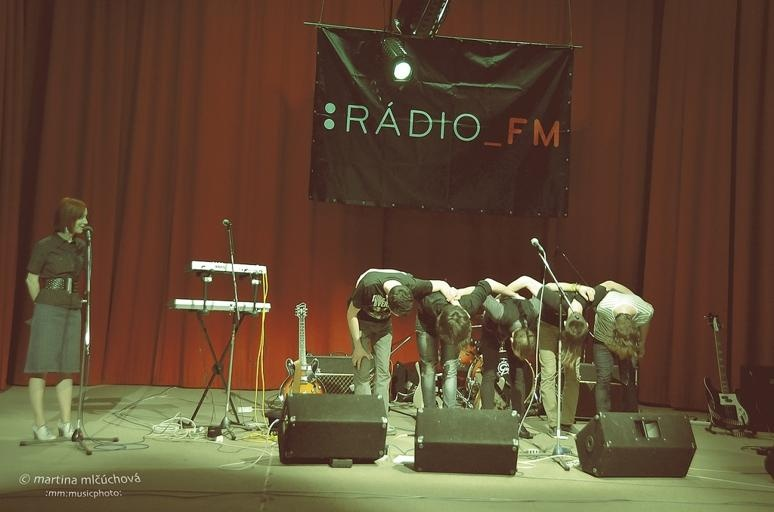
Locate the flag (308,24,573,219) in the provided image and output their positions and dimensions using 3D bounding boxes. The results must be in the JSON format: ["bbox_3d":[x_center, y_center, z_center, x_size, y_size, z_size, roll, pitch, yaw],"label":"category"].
[{"bbox_3d":[0.701,-1.675,12.954,3.283,2.179,0.704,1,-8,-7],"label":"flag"}]

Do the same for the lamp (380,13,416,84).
[{"bbox_3d":[0.158,-2.947,13.008,0.346,1.359,0.647,-1,-21,-4],"label":"lamp"}]

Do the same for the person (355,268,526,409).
[{"bbox_3d":[0.549,0.898,11.161,1.534,1.534,0.821,1,-8,-7],"label":"person"}]

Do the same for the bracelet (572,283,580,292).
[{"bbox_3d":[2.161,0.365,11.529,0.050,0.087,0.130,-6,-11,39],"label":"bracelet"}]

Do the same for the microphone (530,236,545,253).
[{"bbox_3d":[1.941,-0.144,13.106,0.090,0.098,0.306,1,31,-30],"label":"microphone"}]

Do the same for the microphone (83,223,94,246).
[{"bbox_3d":[-3.220,-0.217,10.883,0.087,0.294,0.461,2,-9,-13],"label":"microphone"}]

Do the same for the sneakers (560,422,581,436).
[{"bbox_3d":[2.125,2.019,11.845,0.211,0.120,0.370,1,-5,10],"label":"sneakers"}]

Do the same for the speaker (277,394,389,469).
[{"bbox_3d":[-0.555,1.590,10.673,0.929,0.761,0.745,2,9,-6],"label":"speaker"}]

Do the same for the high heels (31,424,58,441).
[{"bbox_3d":[-3.690,1.902,10.924,0.299,0.155,0.121,4,-3,4],"label":"high heels"}]

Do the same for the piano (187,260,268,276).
[{"bbox_3d":[-1.803,0.135,11.483,0.842,0.176,0.409,3,-10,-14],"label":"piano"}]

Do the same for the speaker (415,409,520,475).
[{"bbox_3d":[0.825,1.917,10.170,1.045,0.694,0.695,-1,-8,1],"label":"speaker"}]

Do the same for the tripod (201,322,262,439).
[{"bbox_3d":[-1.952,1.403,12.289,0.796,1.576,2.489,2,-9,-11],"label":"tripod"}]

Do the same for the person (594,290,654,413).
[{"bbox_3d":[2.691,1.021,11.576,0.622,1.487,0.814,-3,-9,25],"label":"person"}]

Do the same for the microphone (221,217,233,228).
[{"bbox_3d":[-1.946,-0.397,12.269,0.047,0.162,0.149,-18,-1,39],"label":"microphone"}]

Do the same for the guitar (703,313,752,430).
[{"bbox_3d":[4.187,1.482,12.735,0.517,1.509,0.716,1,-8,-3],"label":"guitar"}]
